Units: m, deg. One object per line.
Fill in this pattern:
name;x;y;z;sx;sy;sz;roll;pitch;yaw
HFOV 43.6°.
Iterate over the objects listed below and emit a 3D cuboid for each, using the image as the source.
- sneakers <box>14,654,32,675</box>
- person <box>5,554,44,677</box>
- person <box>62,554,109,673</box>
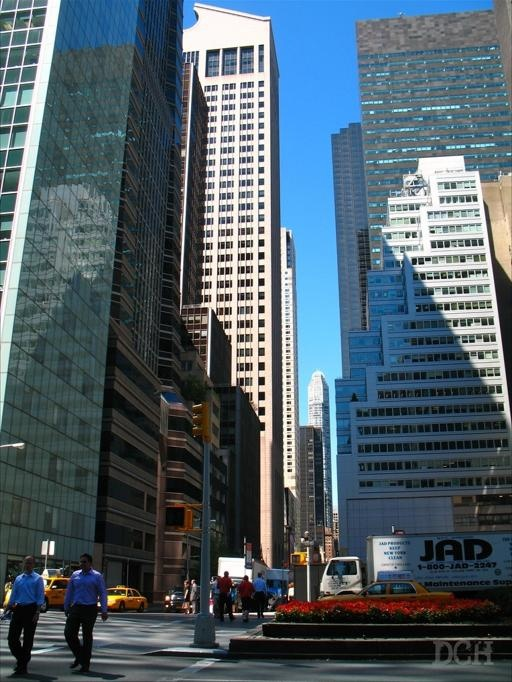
sneakers;-2.761;3.819;7.510;0.156;0.201;0.451;5;-17;-19
person;-3.005;3.538;8.219;0.462;1.396;1.527;5;-17;-17
person;-2.276;3.603;8.481;0.529;1.421;0.982;4;-17;-15
